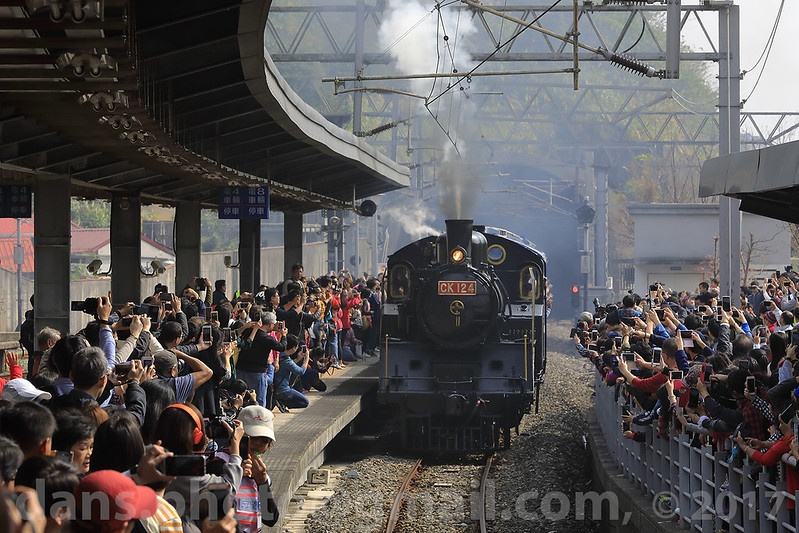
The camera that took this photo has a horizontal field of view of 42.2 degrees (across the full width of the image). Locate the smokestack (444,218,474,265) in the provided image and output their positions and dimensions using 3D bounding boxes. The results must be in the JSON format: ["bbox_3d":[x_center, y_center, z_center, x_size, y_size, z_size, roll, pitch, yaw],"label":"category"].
[{"bbox_3d":[1.043,-0.418,18.159,0.631,0.968,0.687,1,-13,0],"label":"smokestack"}]

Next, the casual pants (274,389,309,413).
[{"bbox_3d":[-1.792,2.204,17.075,0.487,0.170,0.414,3,-2,17],"label":"casual pants"}]

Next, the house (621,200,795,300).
[{"bbox_3d":[10.085,-0.751,34.269,4.021,2.404,3.989,-1,-3,10],"label":"house"}]

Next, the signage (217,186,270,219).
[{"bbox_3d":[-3.044,-1.277,20.318,0.667,0.461,0.151,0,-4,11],"label":"signage"}]

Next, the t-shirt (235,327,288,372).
[{"bbox_3d":[-1.986,1.165,14.684,0.551,0.580,0.333,24,28,-1],"label":"t-shirt"}]
